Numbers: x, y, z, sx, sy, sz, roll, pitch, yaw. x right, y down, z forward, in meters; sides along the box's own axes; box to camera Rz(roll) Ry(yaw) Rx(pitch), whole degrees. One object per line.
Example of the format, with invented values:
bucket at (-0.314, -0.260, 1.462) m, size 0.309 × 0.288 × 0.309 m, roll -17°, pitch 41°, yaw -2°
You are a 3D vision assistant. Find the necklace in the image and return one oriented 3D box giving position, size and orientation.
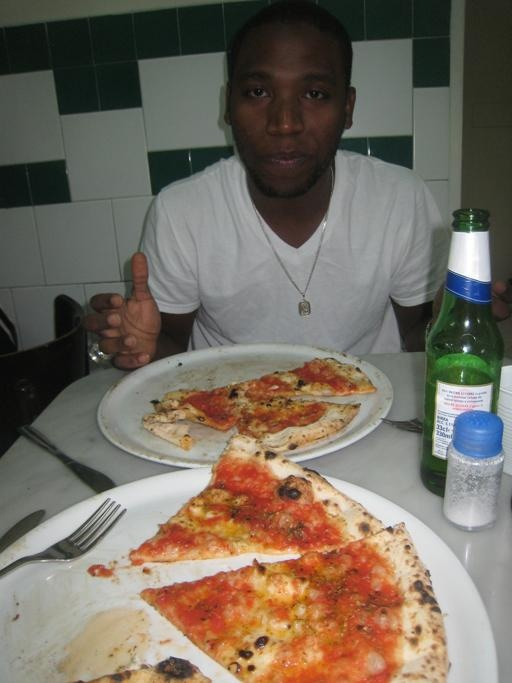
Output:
necklace at (0.135, -0.310, 1.869) m, size 0.271 × 0.451 × 0.211 m, roll -4°, pitch 19°, yaw -7°

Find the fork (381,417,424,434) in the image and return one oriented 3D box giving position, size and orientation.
fork at (0.262, 0.148, 1.063) m, size 0.068 × 0.005 × 0.023 m, roll 7°, pitch 48°, yaw 15°

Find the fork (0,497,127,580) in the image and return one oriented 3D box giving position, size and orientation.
fork at (-0.232, 0.259, 0.799) m, size 0.198 × 0.027 × 0.044 m, roll -25°, pitch 44°, yaw -29°
